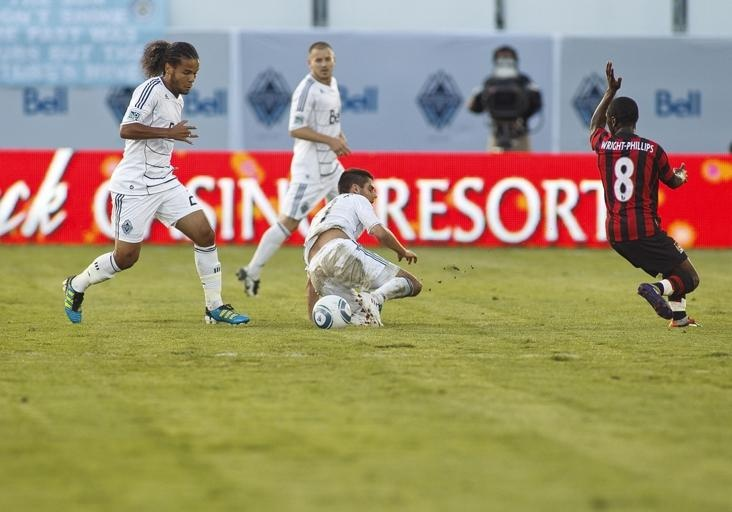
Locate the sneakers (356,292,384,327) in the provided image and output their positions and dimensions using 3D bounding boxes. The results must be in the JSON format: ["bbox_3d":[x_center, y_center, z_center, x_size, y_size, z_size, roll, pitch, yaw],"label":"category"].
[{"bbox_3d":[0.037,0.508,12.366,0.188,0.404,0.150,-4,38,22],"label":"sneakers"}]

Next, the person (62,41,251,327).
[{"bbox_3d":[-1.972,-0.670,12.320,1.592,2.684,0.708,-2,9,-15],"label":"person"}]

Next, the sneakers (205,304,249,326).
[{"bbox_3d":[-1.340,0.570,12.610,0.447,0.209,0.172,1,0,-1],"label":"sneakers"}]

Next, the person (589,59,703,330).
[{"bbox_3d":[2.605,-0.579,12.406,1.085,2.466,0.634,4,10,18],"label":"person"}]

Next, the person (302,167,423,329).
[{"bbox_3d":[-0.153,-0.056,12.590,1.150,1.682,0.865,-15,-21,35],"label":"person"}]
